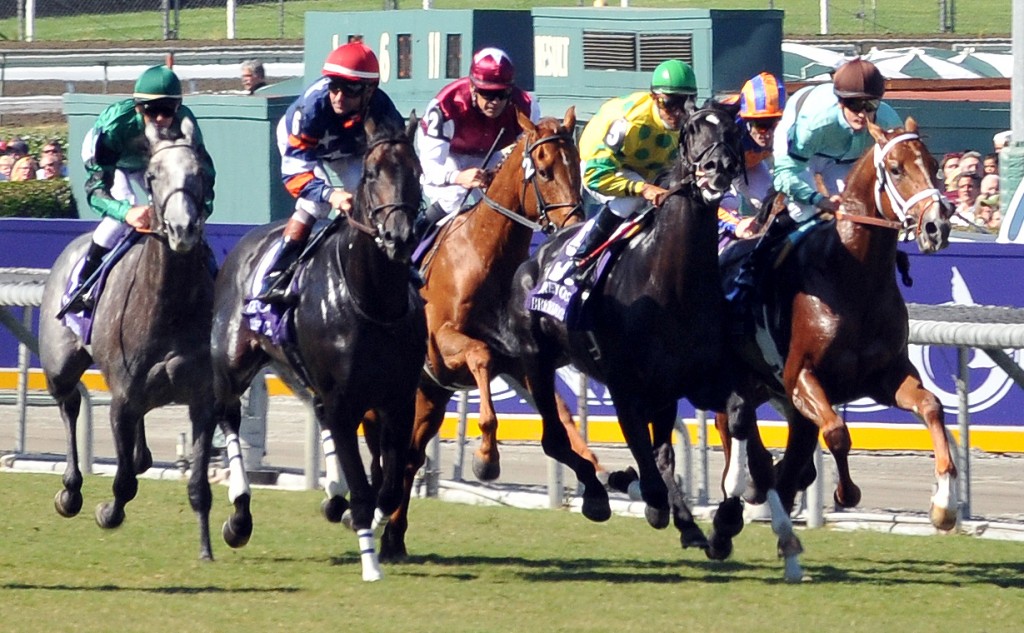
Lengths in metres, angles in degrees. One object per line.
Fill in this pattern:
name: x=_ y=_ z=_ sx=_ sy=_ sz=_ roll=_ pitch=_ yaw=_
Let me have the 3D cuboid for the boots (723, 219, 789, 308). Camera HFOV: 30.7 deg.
boots: x=1.784 y=-0.365 z=13.541 sx=0.223 sy=0.625 sz=0.349 roll=48 pitch=20 yaw=-3

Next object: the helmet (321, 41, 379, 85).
helmet: x=-1.131 y=-1.848 z=13.364 sx=0.419 sy=0.257 sz=0.525 roll=-5 pitch=25 yaw=-26

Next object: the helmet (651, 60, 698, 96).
helmet: x=1.145 y=-1.685 z=13.282 sx=0.298 sy=0.245 sz=0.237 roll=1 pitch=7 yaw=4

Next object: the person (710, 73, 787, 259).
person: x=1.707 y=-1.040 z=13.434 sx=0.419 sy=1.345 sz=0.853 roll=7 pitch=-1 yaw=-2

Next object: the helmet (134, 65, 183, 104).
helmet: x=-2.573 y=-1.671 z=13.520 sx=0.325 sy=0.266 sz=0.312 roll=-1 pitch=7 yaw=-12

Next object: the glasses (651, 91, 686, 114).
glasses: x=1.122 y=-1.511 z=13.224 sx=0.190 sy=0.061 sz=0.145 roll=20 pitch=39 yaw=25

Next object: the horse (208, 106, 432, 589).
horse: x=-1.328 y=0.197 z=13.321 sx=1.663 sy=3.243 sz=0.759 roll=6 pitch=9 yaw=34

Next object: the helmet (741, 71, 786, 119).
helmet: x=1.843 y=-1.648 z=13.621 sx=0.425 sy=0.313 sz=0.554 roll=-4 pitch=13 yaw=5

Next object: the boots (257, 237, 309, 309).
boots: x=-1.661 y=-0.288 z=13.487 sx=0.214 sy=0.606 sz=0.269 roll=38 pitch=-22 yaw=-24

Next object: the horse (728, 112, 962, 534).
horse: x=2.462 y=0.326 z=14.378 sx=1.324 sy=3.006 sz=5.076 roll=5 pitch=-3 yaw=-6

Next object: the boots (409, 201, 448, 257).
boots: x=-0.645 y=-0.686 z=14.622 sx=0.109 sy=0.391 sz=0.238 roll=36 pitch=-25 yaw=-4

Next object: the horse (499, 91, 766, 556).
horse: x=0.981 y=0.052 z=13.827 sx=2.023 sy=3.267 sz=1.353 roll=6 pitch=9 yaw=35
